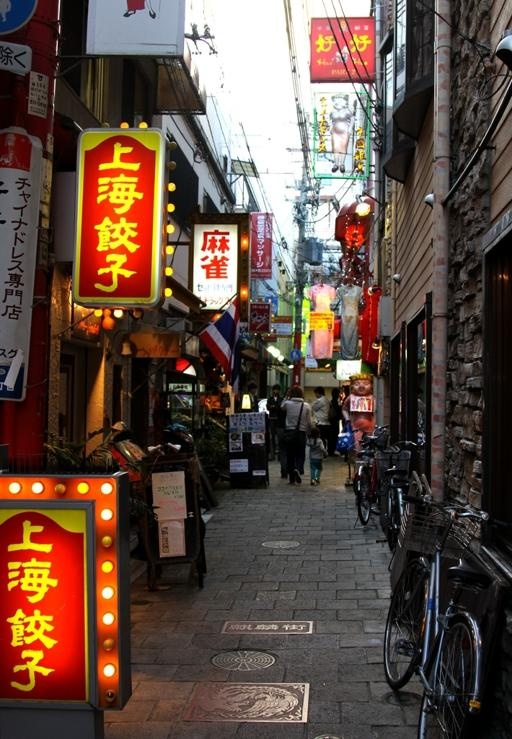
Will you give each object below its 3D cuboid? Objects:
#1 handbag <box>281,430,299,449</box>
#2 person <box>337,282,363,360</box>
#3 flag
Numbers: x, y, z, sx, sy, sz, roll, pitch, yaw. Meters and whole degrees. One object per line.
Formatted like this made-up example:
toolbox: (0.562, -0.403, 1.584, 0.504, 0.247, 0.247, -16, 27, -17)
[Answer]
handbag: (0.797, 1.547, 14.784, 0.427, 0.617, 0.407, -2, -10, 24)
person: (2.514, -1.330, 17.545, 0.617, 1.910, 0.867, -1, -4, 8)
flag: (-0.487, -0.364, 8.935, 0.285, 1.137, 1.128, -1, -4, 11)
